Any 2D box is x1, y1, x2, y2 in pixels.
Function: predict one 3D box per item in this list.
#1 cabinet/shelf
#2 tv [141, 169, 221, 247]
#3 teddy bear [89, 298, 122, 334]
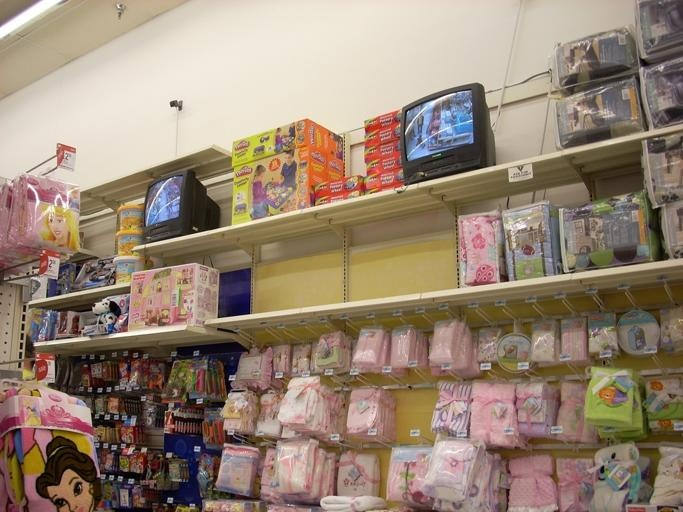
[{"bbox_3d":[-0.179,-0.095,4.440,5.059,2.151,0.837,-12,-17,30],"label":"cabinet/shelf"},{"bbox_3d":[-1.467,-0.401,5.312,0.679,0.531,0.644,-8,-13,36],"label":"tv"},{"bbox_3d":[-2.159,0.547,5.195,0.280,0.381,0.296,12,-29,-23],"label":"teddy bear"}]
